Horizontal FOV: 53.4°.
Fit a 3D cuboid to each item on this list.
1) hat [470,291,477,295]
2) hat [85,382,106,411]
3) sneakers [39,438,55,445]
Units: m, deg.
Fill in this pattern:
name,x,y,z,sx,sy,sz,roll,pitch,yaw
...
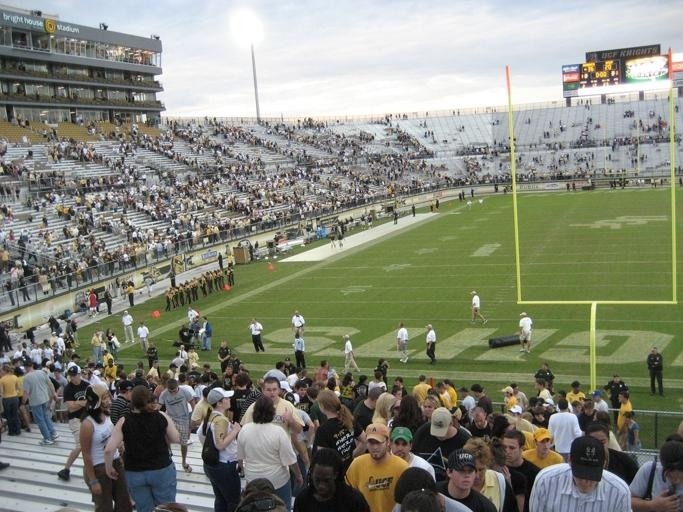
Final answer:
name,x,y,z,sx,sy,sz,roll,pitch,yaw
hat,5.160,1.435,26.485,0.287,0.126,0.429,1,2,12
hat,-2.974,1.683,8.156,0.238,0.273,0.271,9,-8,44
sneakers,-5.038,3.155,11.554,0.238,0.113,0.105,7,4,12
